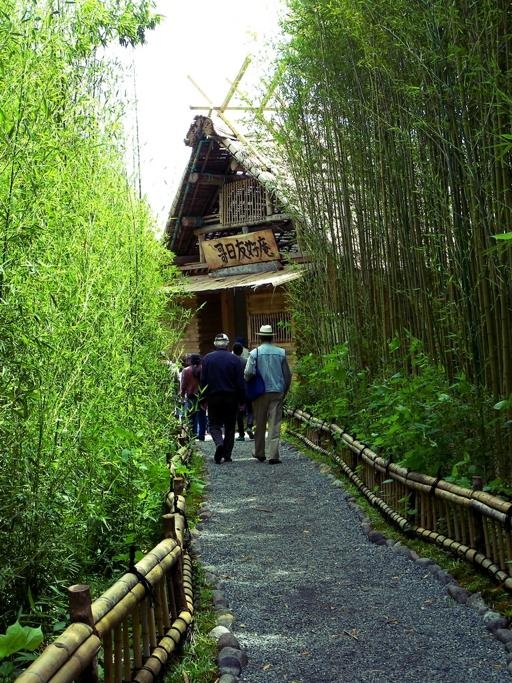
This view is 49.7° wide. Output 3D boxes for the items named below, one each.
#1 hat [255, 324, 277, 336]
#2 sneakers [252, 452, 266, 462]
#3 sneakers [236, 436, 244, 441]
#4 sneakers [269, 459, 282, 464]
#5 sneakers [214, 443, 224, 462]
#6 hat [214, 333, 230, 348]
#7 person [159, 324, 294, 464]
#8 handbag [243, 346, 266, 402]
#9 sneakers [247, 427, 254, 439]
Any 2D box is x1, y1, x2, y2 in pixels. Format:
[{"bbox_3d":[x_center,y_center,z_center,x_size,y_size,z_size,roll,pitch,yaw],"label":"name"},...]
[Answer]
[{"bbox_3d":[0.151,-0.151,6.980,0.267,0.112,0.298,2,0,-4],"label":"hat"},{"bbox_3d":[0.034,1.076,5.135,0.052,0.060,0.142,2,-2,-28],"label":"sneakers"},{"bbox_3d":[-0.195,1.228,7.059,0.088,0.045,0.123,0,-3,5],"label":"sneakers"},{"bbox_3d":[0.173,1.049,4.869,0.113,0.042,0.099,-4,-4,-3],"label":"sneakers"},{"bbox_3d":[-0.334,1.037,5.169,0.068,0.181,0.072,5,-3,-29],"label":"sneakers"},{"bbox_3d":[-0.330,-0.008,5.456,0.196,0.143,0.315,1,2,2],"label":"hat"},{"bbox_3d":[-0.112,0.485,5.207,0.864,1.250,0.497,-6,-4,25],"label":"person"},{"bbox_3d":[-0.018,0.317,5.091,0.188,0.452,0.110,-5,-4,15],"label":"handbag"},{"bbox_3d":[-0.061,1.169,6.895,0.057,0.166,0.071,-6,25,-1],"label":"sneakers"}]
